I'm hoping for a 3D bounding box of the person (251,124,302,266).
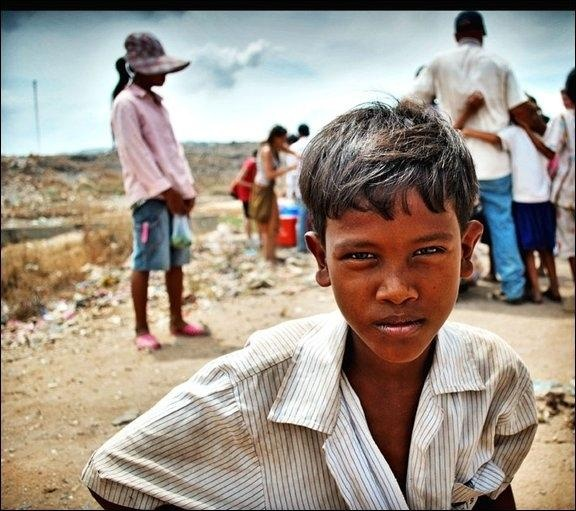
[{"bbox_3d":[-0.113,-0.539,5.564,0.564,1.471,0.563,-9,47,-7],"label":"person"}]

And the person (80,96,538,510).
[{"bbox_3d":[0.122,0.183,1.606,1.173,1.222,0.397,-3,5,3],"label":"person"}]

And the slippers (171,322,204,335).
[{"bbox_3d":[-0.356,0.252,2.037,0.112,0.045,0.044,-2,3,-14],"label":"slippers"}]

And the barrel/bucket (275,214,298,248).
[{"bbox_3d":[-0.008,-0.312,7.050,0.293,0.324,0.288,-1,13,0],"label":"barrel/bucket"}]

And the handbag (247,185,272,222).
[{"bbox_3d":[-0.270,-0.554,5.841,0.224,0.335,0.214,1,5,34],"label":"handbag"}]

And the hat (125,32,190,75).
[{"bbox_3d":[-0.424,-0.670,1.851,0.197,0.099,0.181,-16,42,-25],"label":"hat"}]
